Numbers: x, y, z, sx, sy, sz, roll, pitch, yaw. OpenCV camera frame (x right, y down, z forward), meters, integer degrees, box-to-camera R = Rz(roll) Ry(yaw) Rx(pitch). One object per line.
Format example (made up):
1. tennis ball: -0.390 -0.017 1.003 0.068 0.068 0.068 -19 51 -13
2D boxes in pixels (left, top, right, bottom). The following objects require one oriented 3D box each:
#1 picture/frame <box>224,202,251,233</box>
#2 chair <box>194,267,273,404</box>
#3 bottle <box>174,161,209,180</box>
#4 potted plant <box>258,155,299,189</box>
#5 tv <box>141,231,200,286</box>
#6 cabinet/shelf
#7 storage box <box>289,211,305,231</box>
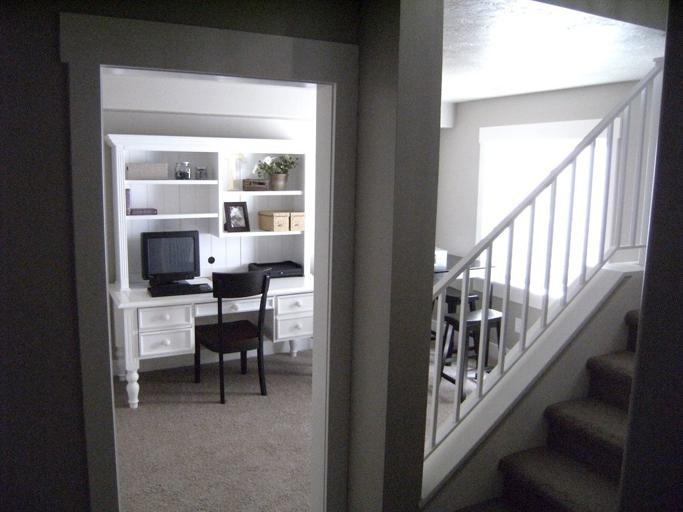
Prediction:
1. picture/frame: -0.825 -0.300 4.517 0.212 0.250 0.058 -8 -1 -39
2. chair: -0.775 0.517 4.075 0.543 0.875 0.698 -3 5 -15
3. bottle: -1.121 -0.630 4.329 0.132 0.128 0.219 4 4 35
4. potted plant: -0.515 -0.663 4.663 0.294 0.244 0.261 -2 5 -6
5. tv: -1.243 -0.076 4.374 0.525 0.529 0.340 -3 6 -33
6. cabinet/shelf: -0.859 -0.048 4.408 1.595 1.876 0.669 -5 32 -16
7. storage box: -0.359 -0.269 4.643 0.118 0.156 0.220 -2 7 -15
